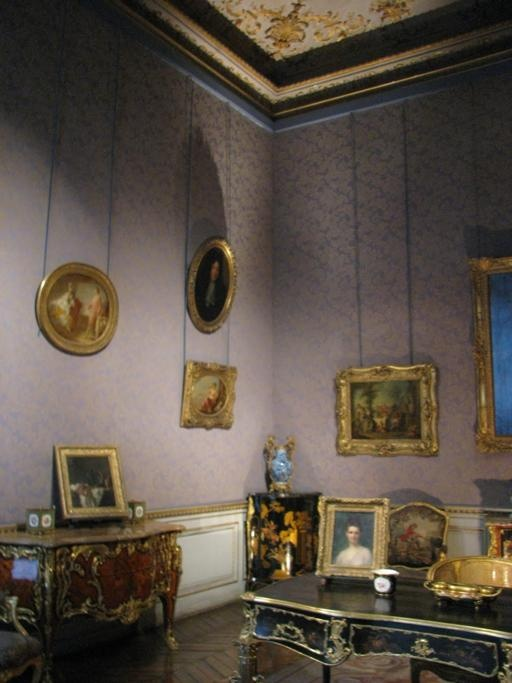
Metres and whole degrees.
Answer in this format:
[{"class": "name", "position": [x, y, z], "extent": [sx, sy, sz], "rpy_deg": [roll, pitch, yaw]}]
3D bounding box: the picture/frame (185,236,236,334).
[{"class": "picture/frame", "position": [-0.439, -0.556, 6.542], "extent": [0.093, 0.979, 0.745], "rpy_deg": [-3, -10, 29]}]

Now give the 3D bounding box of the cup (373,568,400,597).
[{"class": "cup", "position": [0.590, 1.074, 2.979], "extent": [0.102, 0.074, 0.100], "rpy_deg": [1, -15, 0]}]

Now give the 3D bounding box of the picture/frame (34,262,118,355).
[{"class": "picture/frame", "position": [-1.317, -0.253, 5.012], "extent": [0.761, 0.687, 0.081], "rpy_deg": [4, 8, 23]}]

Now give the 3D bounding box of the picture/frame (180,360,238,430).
[{"class": "picture/frame", "position": [-0.432, 0.505, 6.393], "extent": [0.060, 0.617, 0.776], "rpy_deg": [1, -6, 35]}]

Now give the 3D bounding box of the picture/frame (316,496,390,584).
[{"class": "picture/frame", "position": [0.473, 0.965, 3.228], "extent": [0.482, 0.495, 0.073], "rpy_deg": [-1, -32, 15]}]

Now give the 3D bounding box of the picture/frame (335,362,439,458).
[{"class": "picture/frame", "position": [1.344, 0.691, 6.599], "extent": [1.053, 0.868, 0.071], "rpy_deg": [-2, -5, 37]}]

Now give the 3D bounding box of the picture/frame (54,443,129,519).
[{"class": "picture/frame", "position": [-1.192, 0.998, 4.728], "extent": [0.044, 0.541, 0.553], "rpy_deg": [-39, -38, 27]}]
